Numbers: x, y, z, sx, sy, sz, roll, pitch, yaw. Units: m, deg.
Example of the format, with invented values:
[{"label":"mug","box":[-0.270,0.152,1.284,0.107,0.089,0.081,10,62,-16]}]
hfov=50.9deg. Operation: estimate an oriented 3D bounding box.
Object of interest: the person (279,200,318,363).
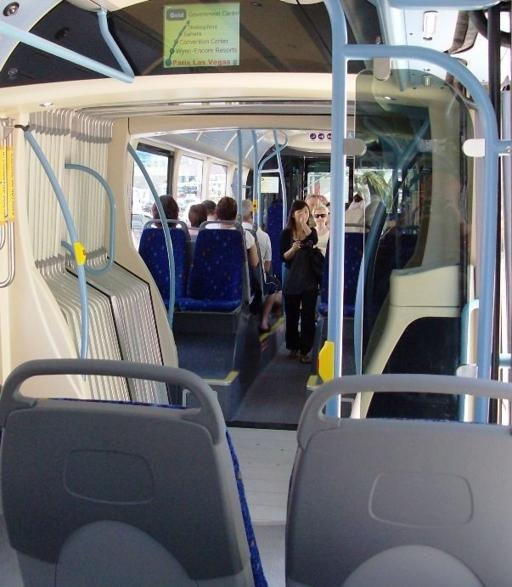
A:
[{"label":"person","box":[0.465,-0.170,5.658,0.419,1.737,0.427,1,-1,-42]}]

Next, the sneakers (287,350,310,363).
[{"label":"sneakers","box":[0.452,0.677,5.780,0.286,0.141,0.097,-3,3,28]}]

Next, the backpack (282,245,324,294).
[{"label":"backpack","box":[0.509,-0.302,5.658,0.408,0.619,0.331,8,25,10]}]
